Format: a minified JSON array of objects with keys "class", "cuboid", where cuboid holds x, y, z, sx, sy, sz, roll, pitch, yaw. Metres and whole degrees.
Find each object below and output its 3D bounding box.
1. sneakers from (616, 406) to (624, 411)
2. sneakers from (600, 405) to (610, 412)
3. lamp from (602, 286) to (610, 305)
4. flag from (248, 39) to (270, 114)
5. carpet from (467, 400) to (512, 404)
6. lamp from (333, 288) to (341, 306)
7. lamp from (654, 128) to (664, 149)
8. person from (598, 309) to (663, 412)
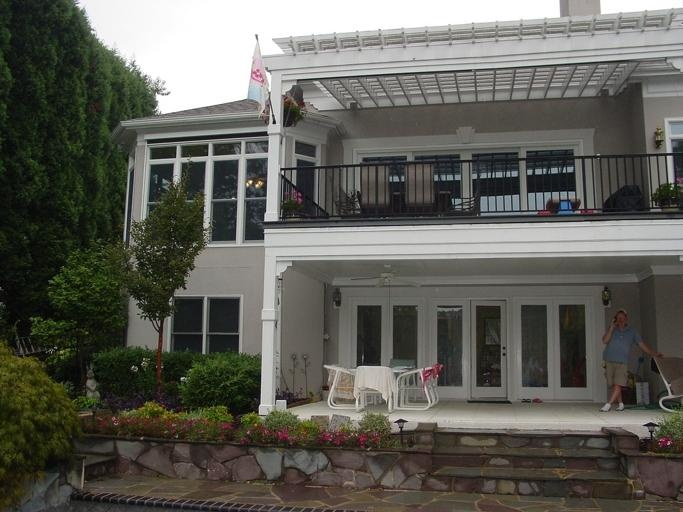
[{"class":"sneakers","cuboid":[5.989,3.255,13.368,0.092,0.132,0.286,-11,-17,27]},{"class":"sneakers","cuboid":[5.631,3.201,13.276,0.206,0.167,0.434,-2,-8,20]},{"class":"lamp","cuboid":[6.479,0.962,15.236,0.217,0.486,0.327,-3,-8,31]},{"class":"flag","cuboid":[-1.678,-3.779,12.743,0.446,1.613,0.721,2,-7,-7]},{"class":"carpet","cuboid":[3.581,3.492,14.967,1.018,0.024,0.869,0,-8,8]},{"class":"lamp","cuboid":[-0.096,1.057,16.115,0.214,0.485,0.111,1,-7,-4]},{"class":"lamp","cuboid":[7.363,-2.725,14.396,0.267,0.473,0.165,4,-8,-23]},{"class":"person","cuboid":[6.553,2.368,13.952,0.899,2.522,1.309,27,-30,-27]}]
